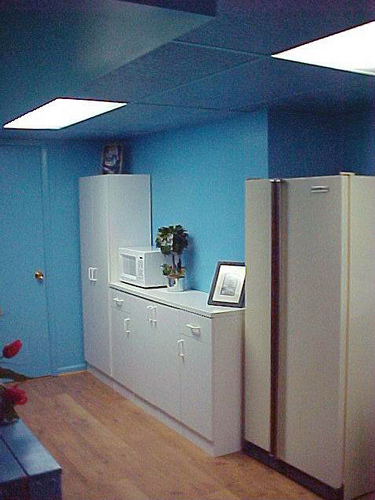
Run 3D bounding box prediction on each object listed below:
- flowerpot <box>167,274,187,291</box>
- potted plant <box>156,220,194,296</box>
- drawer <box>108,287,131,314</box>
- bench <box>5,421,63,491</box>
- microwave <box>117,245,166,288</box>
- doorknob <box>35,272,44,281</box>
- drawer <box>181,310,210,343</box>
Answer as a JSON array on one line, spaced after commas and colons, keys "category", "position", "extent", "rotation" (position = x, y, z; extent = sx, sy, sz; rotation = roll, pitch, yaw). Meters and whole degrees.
[{"category": "flowerpot", "position": [-0.084, 0.274, 3.515], "extent": [0.130, 0.100, 0.139], "rotation": [0, -3, 43]}, {"category": "potted plant", "position": [-0.121, 0.056, 3.636], "extent": [0.326, 0.596, 0.456], "rotation": [-2, 2, -20]}, {"category": "drawer", "position": [-0.615, 0.463, 3.844], "extent": [0.178, 0.134, 0.266], "rotation": [5, -1, -32]}, {"category": "bench", "position": [-0.614, 0.786, 1.588], "extent": [0.118, 0.049, 0.235], "rotation": [-3, 8, -29]}, {"category": "microwave", "position": [-0.427, 0.150, 3.912], "extent": [0.320, 0.308, 0.492], "rotation": [-4, 4, -39]}, {"category": "doorknob", "position": [-1.567, 0.279, 4.390], "extent": [0.078, 0.074, 0.074], "rotation": [-9, 14, -42]}, {"category": "drawer", "position": [0.061, 0.512, 2.833], "extent": [0.149, 0.145, 0.235], "rotation": [1, 1, -34]}]
